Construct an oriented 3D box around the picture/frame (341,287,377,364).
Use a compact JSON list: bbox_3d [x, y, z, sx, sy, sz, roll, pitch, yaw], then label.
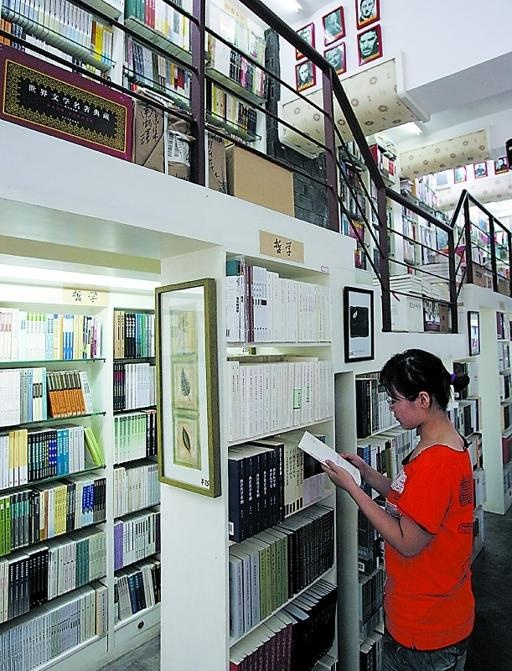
[{"bbox_3d":[0.464,-0.047,2.294,0.023,0.408,0.311,-2,-3,34],"label":"picture/frame"}]
